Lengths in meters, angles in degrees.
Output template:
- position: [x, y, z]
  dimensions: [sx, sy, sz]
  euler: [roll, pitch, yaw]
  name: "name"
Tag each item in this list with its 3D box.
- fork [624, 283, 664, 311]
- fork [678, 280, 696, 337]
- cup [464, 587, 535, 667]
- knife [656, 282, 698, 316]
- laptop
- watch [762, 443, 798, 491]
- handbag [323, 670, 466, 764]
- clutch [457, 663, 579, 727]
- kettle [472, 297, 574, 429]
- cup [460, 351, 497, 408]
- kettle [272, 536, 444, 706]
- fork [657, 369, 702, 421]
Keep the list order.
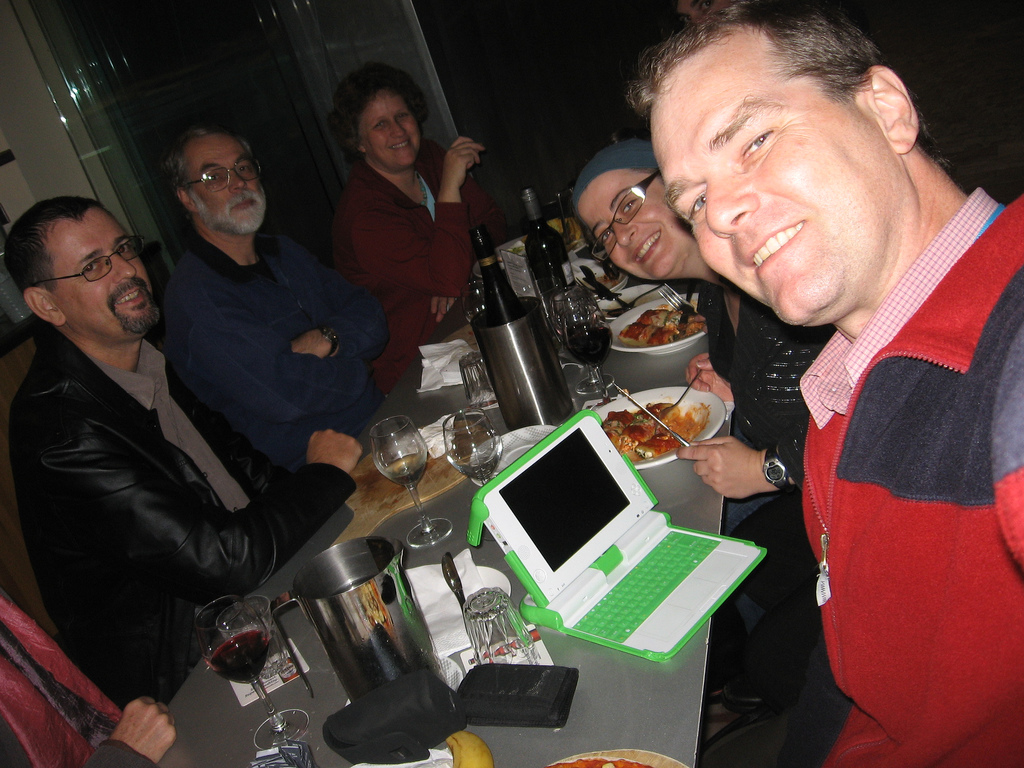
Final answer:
- position: [0.462, -0.304, 2.474]
  dimensions: [0.161, 0.032, 0.024]
  euler: [-43, -11, -23]
  name: "fork"
- position: [0.582, -0.252, 2.352]
  dimensions: [0.050, 0.044, 0.305]
  euler: [-3, 28, 14]
  name: "fork"
- position: [-0.016, 0.431, 1.299]
  dimensions: [0.113, 0.128, 0.129]
  euler: [-17, 15, 13]
  name: "cup"
- position: [0.552, -0.280, 2.361]
  dimensions: [0.056, 0.033, 0.207]
  euler: [-37, 37, -2]
  name: "knife"
- position: [0.185, 0.298, 1.319]
  dimensions: [0.422, 0.294, 0.425]
  euler: [3, 30, 46]
  name: "laptop"
- position: [0.620, 0.189, 1.691]
  dimensions: [0.069, 0.113, 0.101]
  euler: [-20, -1, 24]
  name: "watch"
- position: [-0.175, 0.520, 1.121]
  dimensions: [0.174, 0.098, 0.135]
  euler: [-26, 0, 13]
  name: "handbag"
- position: [0.005, 0.493, 1.148]
  dimensions: [0.146, 0.038, 0.102]
  euler: [1, 32, 15]
  name: "clutch"
- position: [0.027, -0.050, 1.830]
  dimensions: [0.195, 0.338, 0.201]
  euler: [-17, 23, 25]
  name: "kettle"
- position: [-0.087, -0.016, 1.973]
  dimensions: [0.089, 0.143, 0.088]
  euler: [-16, 21, 6]
  name: "cup"
- position: [-0.265, 0.428, 1.257]
  dimensions: [0.190, 0.241, 0.143]
  euler: [-26, 8, 6]
  name: "kettle"
- position: [0.432, 0.029, 1.827]
  dimensions: [0.162, 0.026, 0.023]
  euler: [-52, 3, -31]
  name: "fork"
